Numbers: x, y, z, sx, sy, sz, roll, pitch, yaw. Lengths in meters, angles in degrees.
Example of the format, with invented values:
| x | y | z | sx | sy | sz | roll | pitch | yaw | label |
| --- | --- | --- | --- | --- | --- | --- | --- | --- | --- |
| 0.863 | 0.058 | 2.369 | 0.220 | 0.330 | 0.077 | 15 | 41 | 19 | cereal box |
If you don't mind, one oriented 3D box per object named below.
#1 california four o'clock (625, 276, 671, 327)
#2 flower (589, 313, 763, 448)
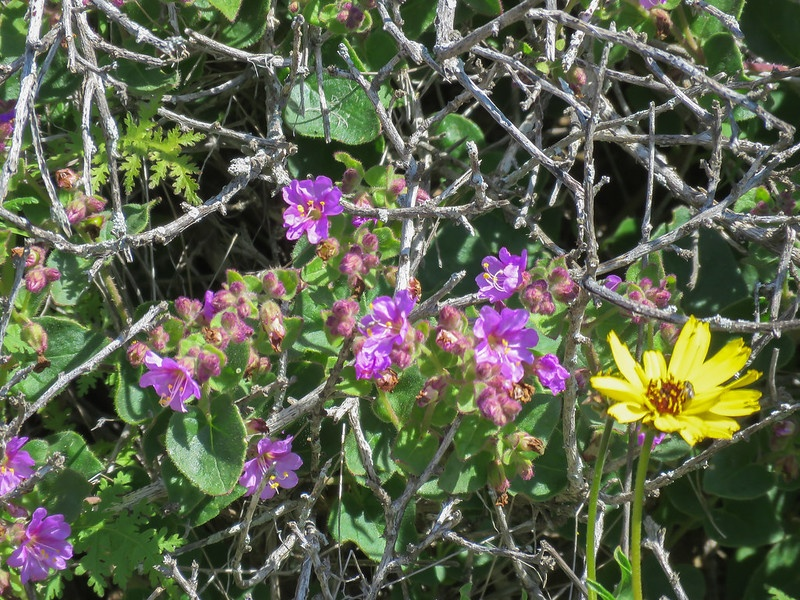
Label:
| x | y | z | sx | sy | sz | roll | pitch | yaw | label |
| --- | --- | --- | --- | --- | --- | --- | --- | --- | --- |
| 0.728 | 0.001 | 2.548 | 0.147 | 0.077 | 0.146 | -15 | 90 | 9 | california four o'clock |
| 0.649 | 0.225 | 2.130 | 0.367 | 0.153 | 0.409 | 7 | 31 | 30 | flower |
